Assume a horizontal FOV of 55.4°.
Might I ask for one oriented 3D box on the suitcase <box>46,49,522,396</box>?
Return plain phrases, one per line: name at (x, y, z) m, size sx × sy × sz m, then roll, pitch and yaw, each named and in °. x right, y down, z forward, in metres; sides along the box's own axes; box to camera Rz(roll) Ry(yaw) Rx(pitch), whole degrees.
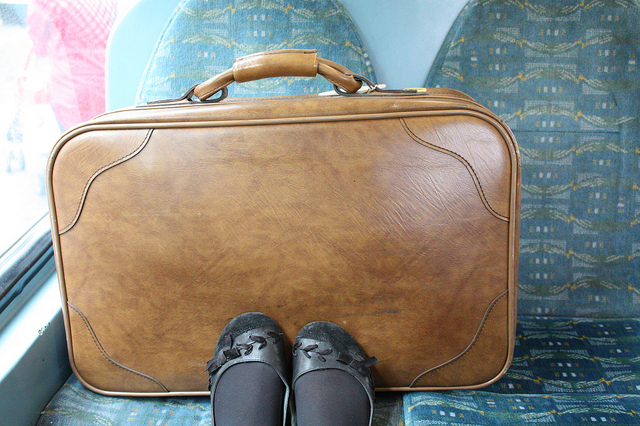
suitcase at (-0.061, 0.053, 1.317) m, size 0.871 × 0.576 × 0.289 m, roll -1°, pitch 11°, yaw 1°
